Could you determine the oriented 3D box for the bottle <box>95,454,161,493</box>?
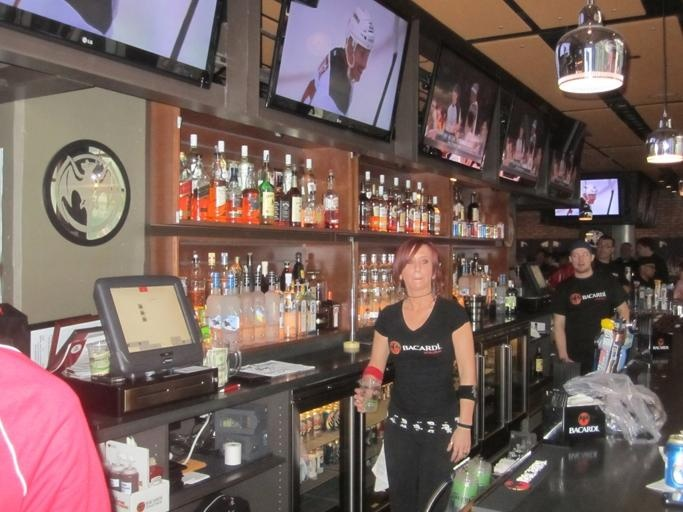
[{"bbox_3d":[-0.845,0.872,2.248,0.103,0.166,0.151,-11,-20,35],"label":"bottle"}]

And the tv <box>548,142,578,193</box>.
[{"bbox_3d":[2.667,-1.088,6.879,0.082,0.437,0.619,4,4,35],"label":"tv"}]

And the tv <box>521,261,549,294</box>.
[{"bbox_3d":[2.045,0.227,6.030,0.273,0.277,0.517,-3,1,18],"label":"tv"}]

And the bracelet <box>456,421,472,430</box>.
[{"bbox_3d":[0.602,0.825,2.778,0.068,0.033,0.076,-3,1,7],"label":"bracelet"}]

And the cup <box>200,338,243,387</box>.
[{"bbox_3d":[-0.576,0.507,2.663,0.150,0.224,0.387,-3,1,-3],"label":"cup"}]

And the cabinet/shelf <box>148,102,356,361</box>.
[{"bbox_3d":[-0.415,-0.163,3.299,1.195,1.150,0.346,2,-5,-40],"label":"cabinet/shelf"}]

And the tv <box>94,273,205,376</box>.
[{"bbox_3d":[-0.818,0.287,2.393,0.113,0.415,0.412,-26,-19,35],"label":"tv"}]

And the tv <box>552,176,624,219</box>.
[{"bbox_3d":[4.215,-1.006,9.504,0.818,0.532,0.117,2,4,37],"label":"tv"}]

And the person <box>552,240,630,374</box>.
[{"bbox_3d":[1.939,0.408,4.450,0.554,0.851,0.330,-3,1,26],"label":"person"}]

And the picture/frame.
[{"bbox_3d":[-1.212,-0.295,2.621,0.071,0.611,0.512,2,2,37],"label":"picture/frame"}]

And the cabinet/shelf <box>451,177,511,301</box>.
[{"bbox_3d":[1.379,-0.184,5.624,0.355,1.078,1.134,-2,-3,29],"label":"cabinet/shelf"}]
